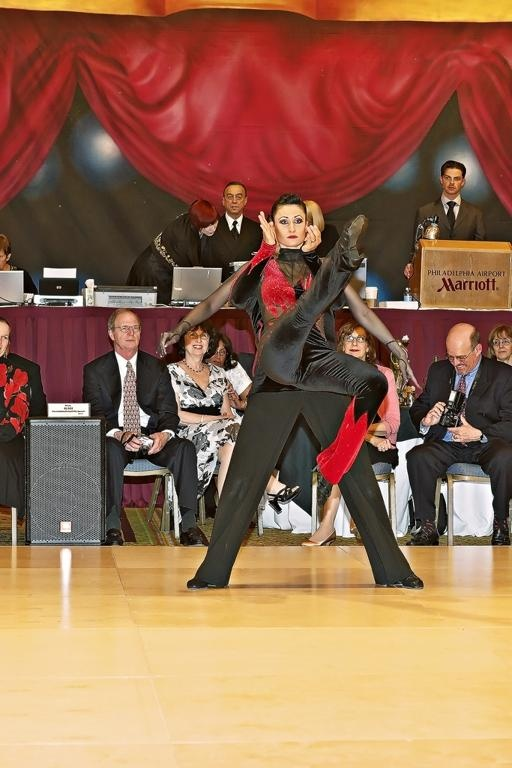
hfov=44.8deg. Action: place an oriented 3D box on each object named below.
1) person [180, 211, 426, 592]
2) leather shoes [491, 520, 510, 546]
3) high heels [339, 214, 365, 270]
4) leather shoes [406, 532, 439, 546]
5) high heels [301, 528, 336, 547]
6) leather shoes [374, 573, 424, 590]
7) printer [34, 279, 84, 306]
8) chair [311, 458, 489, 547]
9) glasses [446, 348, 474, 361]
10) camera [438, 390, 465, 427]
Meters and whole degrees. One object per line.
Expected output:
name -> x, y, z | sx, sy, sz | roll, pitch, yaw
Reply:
person -> 0.105, 0.067, 2.204 | 0.733, 1.393, 0.682 | 0, -1, 27
leather shoes -> 1.442, 0.877, 3.671 | 0.080, 0.090, 0.216 | -1, 5, 9
high heels -> 0.275, -0.397, 1.750 | 0.055, 0.173, 0.070 | 3, 32, -3
leather shoes -> 0.968, 0.918, 3.745 | 0.258, 0.102, 0.083 | 5, -9, -28
high heels -> 0.366, 0.893, 3.630 | 0.182, 0.072, 0.092 | 2, -3, -18
leather shoes -> 0.531, 0.731, 2.352 | 0.195, 0.073, 0.065 | -2, 2, 16
printer -> -1.539, -0.693, 4.853 | 0.360, 0.237, 0.240 | 0, -5, -8
chair -> 1.083, 0.668, 3.955 | 0.898, 0.406, 0.614 | -1, -10, 4
glasses -> 1.325, -0.181, 3.992 | 0.102, 0.052, 0.132 | -5, -8, 30
camera -> 1.261, 0.160, 3.997 | 0.164, 0.216, 0.073 | 20, 6, 39
